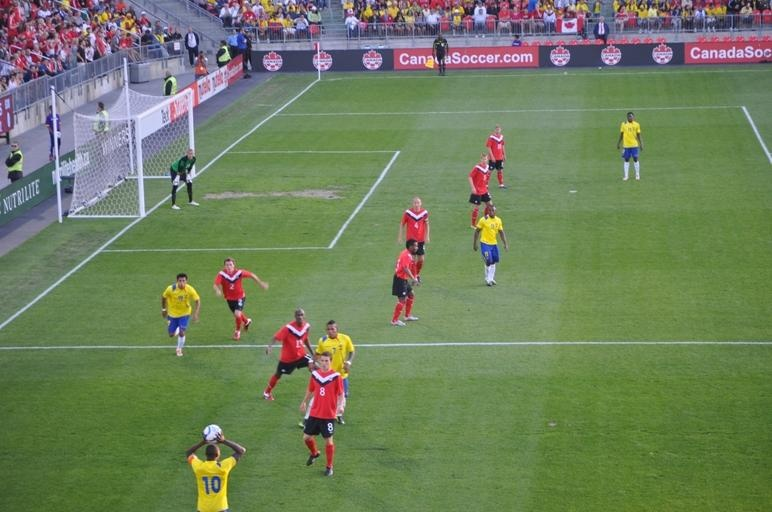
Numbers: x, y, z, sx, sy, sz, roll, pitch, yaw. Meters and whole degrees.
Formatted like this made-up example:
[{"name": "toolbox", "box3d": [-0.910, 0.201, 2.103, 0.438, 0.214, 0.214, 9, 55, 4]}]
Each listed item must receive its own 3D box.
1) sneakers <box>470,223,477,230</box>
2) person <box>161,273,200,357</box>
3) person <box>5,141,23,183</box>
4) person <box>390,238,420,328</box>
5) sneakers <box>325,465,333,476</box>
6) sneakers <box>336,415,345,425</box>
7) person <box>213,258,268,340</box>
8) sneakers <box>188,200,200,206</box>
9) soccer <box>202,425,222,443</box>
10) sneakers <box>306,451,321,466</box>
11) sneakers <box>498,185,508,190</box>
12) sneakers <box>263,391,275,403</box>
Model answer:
[{"name": "sneakers", "box3d": [2.945, -0.996, 38.926, 0.205, 0.245, 0.554, 0, 3, 2]}, {"name": "person", "box3d": [-5.489, 1.563, 31.478, 1.055, 2.360, 0.997, 8, 18, 10]}, {"name": "person", "box3d": [-13.228, -3.342, 41.622, 0.543, 1.612, 1.295, -9, 20, -19]}, {"name": "person", "box3d": [0.580, 0.870, 33.225, 0.730, 2.346, 1.016, -2, 46, -2]}, {"name": "sneakers", "box3d": [-1.292, 5.097, 27.367, 0.219, 0.191, 0.162, -8, 20, -15]}, {"name": "sneakers", "box3d": [-1.106, 4.073, 28.735, 0.166, 0.242, 0.336, -1, -1, -13]}, {"name": "person", "box3d": [-4.148, 1.117, 32.294, 1.017, 2.299, 1.400, -5, 19, -8]}, {"name": "sneakers", "box3d": [-6.907, -1.935, 42.191, 0.398, 0.189, 0.168, 8, 16, 29]}, {"name": "soccer", "box3d": [-3.750, 3.823, 25.168, 0.371, 0.402, 0.381, -7, -16, -20]}, {"name": "sneakers", "box3d": [-1.711, 4.871, 27.735, 0.200, 0.269, 0.569, 11, -12, -5]}, {"name": "sneakers", "box3d": [4.345, -2.571, 42.891, 0.307, 0.226, 0.118, -4, 33, 1]}, {"name": "sneakers", "box3d": [-2.931, 3.596, 29.637, 0.341, 0.255, 0.132, 6, 22, 8]}]
